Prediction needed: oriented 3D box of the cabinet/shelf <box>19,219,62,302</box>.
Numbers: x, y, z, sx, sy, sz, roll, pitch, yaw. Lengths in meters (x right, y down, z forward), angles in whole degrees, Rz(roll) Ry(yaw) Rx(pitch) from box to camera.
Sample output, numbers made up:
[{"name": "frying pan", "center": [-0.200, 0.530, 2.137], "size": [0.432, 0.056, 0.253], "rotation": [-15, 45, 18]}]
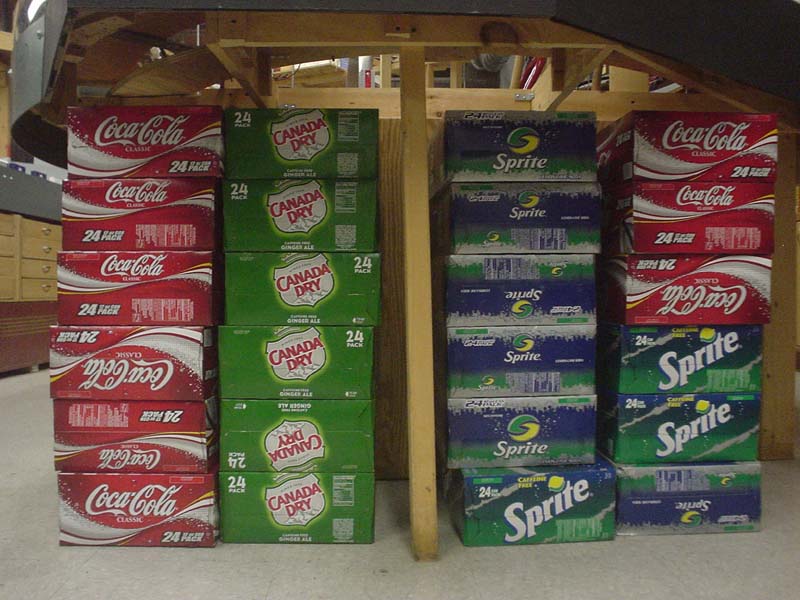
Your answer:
[{"name": "cabinet/shelf", "center": [-2.746, -0.303, 6.930], "size": [0.291, 0.587, 0.689], "rotation": [2, 4, -3]}]

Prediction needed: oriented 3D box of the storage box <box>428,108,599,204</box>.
[{"name": "storage box", "center": [0.530, -0.680, 4.286], "size": [0.702, 0.284, 0.344], "rotation": [0, -3, 0]}]

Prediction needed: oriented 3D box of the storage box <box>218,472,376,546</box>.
[{"name": "storage box", "center": [-0.458, 0.923, 3.939], "size": [0.573, 0.335, 0.237], "rotation": [2, 13, 0]}]
